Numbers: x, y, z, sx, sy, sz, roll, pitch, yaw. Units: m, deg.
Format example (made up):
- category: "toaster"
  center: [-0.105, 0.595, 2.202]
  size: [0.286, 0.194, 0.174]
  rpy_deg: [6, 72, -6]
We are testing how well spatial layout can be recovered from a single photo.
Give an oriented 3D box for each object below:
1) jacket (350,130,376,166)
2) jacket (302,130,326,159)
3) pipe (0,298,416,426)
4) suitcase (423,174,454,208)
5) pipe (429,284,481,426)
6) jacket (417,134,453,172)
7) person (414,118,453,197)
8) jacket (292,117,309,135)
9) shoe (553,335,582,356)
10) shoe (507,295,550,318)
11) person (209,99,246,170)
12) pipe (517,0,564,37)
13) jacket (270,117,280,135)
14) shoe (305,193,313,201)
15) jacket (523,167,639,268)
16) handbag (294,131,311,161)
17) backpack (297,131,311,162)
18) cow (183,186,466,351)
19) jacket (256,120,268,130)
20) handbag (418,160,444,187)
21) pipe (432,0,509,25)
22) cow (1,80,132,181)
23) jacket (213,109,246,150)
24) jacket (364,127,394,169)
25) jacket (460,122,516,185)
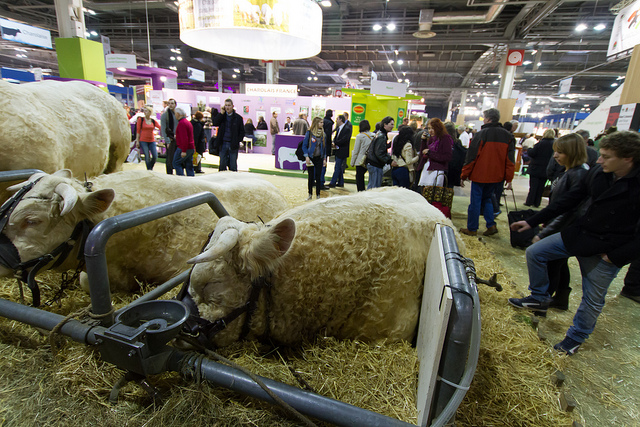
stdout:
- category: "jacket"
  center: [0.949, -1.469, 8.259]
  size: [0.397, 0.746, 0.722]
  rpy_deg: [28, 35, 35]
- category: "jacket"
  center: [-0.130, -1.421, 7.563]
  size: [0.552, 0.595, 0.335]
  rpy_deg: [2, -1, -34]
- category: "pipe"
  center: [-0.825, 1.061, 2.597]
  size: [3.051, 0.117, 0.122]
  rpy_deg: [13, 33, 13]
- category: "suitcase"
  center: [1.970, -0.328, 6.155]
  size: [0.485, 0.696, 0.227]
  rpy_deg: [10, 10, 23]
- category: "pipe"
  center: [0.894, 0.947, 2.348]
  size: [0.174, 0.922, 0.462]
  rpy_deg: [14, 20, 26]
- category: "jacket"
  center: [1.988, -1.082, 6.516]
  size: [0.430, 0.714, 0.724]
  rpy_deg: [-8, 19, -30]
- category: "person"
  center: [2.005, -0.942, 6.531]
  size: [0.544, 1.401, 1.144]
  rpy_deg: [10, 18, 13]
- category: "jacket"
  center: [-0.572, -2.507, 10.726]
  size: [0.302, 0.486, 0.712]
  rpy_deg: [-5, 20, -30]
- category: "shoe"
  center: [2.430, 1.272, 3.597]
  size: [0.273, 0.192, 0.121]
  rpy_deg: [4, 17, -4]
- category: "shoe"
  center: [2.296, 1.004, 4.051]
  size: [0.460, 0.239, 0.109]
  rpy_deg: [7, 18, 5]
- category: "person"
  center: [-2.087, -1.708, 8.353]
  size: [0.756, 1.634, 0.517]
  rpy_deg: [20, 23, 39]
- category: "pipe"
  center: [7.089, -6.299, 11.916]
  size: [0.355, 0.430, 3.199]
  rpy_deg: [9, 17, 12]
- category: "jacket"
  center: [-1.717, -3.211, 13.719]
  size: [0.274, 0.651, 0.517]
  rpy_deg: [2, 18, -12]
- category: "shoe"
  center: [-0.228, -0.334, 7.473]
  size: [0.092, 0.134, 0.299]
  rpy_deg: [0, -21, 6]
- category: "jacket"
  center: [2.618, 0.021, 3.789]
  size: [0.816, 1.217, 0.884]
  rpy_deg: [-8, 48, 30]
- category: "handbag"
  center: [-0.457, -1.400, 7.783]
  size: [0.305, 0.430, 0.396]
  rpy_deg: [18, 6, -20]
- category: "backpack"
  center: [-0.356, -1.397, 7.687]
  size: [0.241, 0.653, 0.582]
  rpy_deg: [4, 17, -5]
- category: "cow"
  center: [-0.034, 0.491, 2.951]
  size: [1.950, 1.131, 0.723]
  rpy_deg: [2, 18, -12]
- category: "jacket"
  center: [-2.335, -3.438, 14.560]
  size: [0.468, 0.441, 0.272]
  rpy_deg: [13, 32, 22]
- category: "handbag"
  center: [1.936, -0.687, 6.415]
  size: [0.314, 0.584, 0.526]
  rpy_deg: [-1, 3, -28]
- category: "pipe"
  center: [4.937, -6.724, 12.368]
  size: [1.434, 0.445, 1.446]
  rpy_deg: [-4, 18, -1]
- category: "cow"
  center: [-2.983, -0.888, 4.291]
  size: [0.583, 1.205, 1.869]
  rpy_deg: [5, 17, -2]
- category: "jacket"
  center: [-2.089, -1.869, 8.307]
  size: [0.682, 0.862, 0.359]
  rpy_deg: [11, 18, 16]
- category: "jacket"
  center: [1.155, -1.320, 7.434]
  size: [0.585, 0.775, 0.770]
  rpy_deg: [6, 18, -3]
- category: "jacket"
  center: [2.702, -0.945, 5.849]
  size: [0.752, 0.943, 0.372]
  rpy_deg: [11, 18, 16]
